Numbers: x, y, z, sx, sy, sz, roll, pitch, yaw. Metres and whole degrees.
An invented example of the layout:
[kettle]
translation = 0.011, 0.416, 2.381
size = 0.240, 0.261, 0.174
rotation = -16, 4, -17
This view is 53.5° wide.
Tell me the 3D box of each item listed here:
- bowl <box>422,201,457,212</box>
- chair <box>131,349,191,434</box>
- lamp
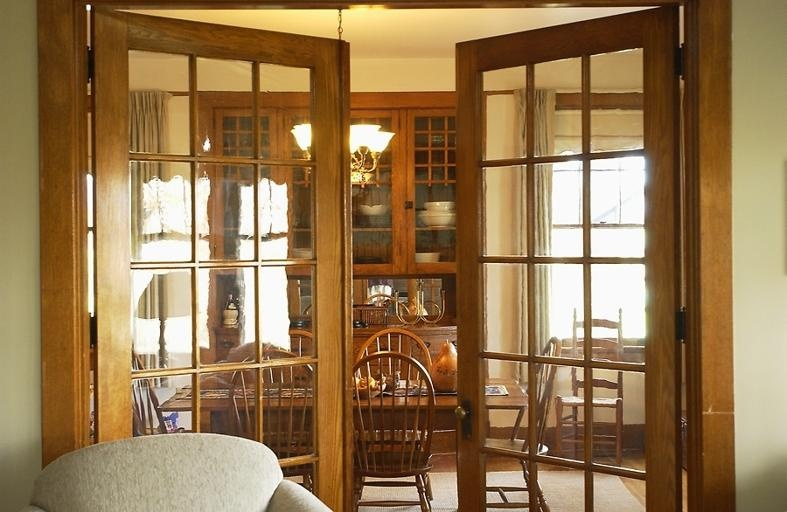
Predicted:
[bowl]
translation = 0.368, -0.395, 6.151
size = 0.253, 0.091, 0.256
rotation = 0, 2, 0
[chair]
translation = -1.117, 0.672, 3.858
size = 0.334, 0.530, 0.295
rotation = -1, -1, -5
[lamp]
translation = -0.192, -0.762, 5.824
size = 0.695, 0.473, 0.564
rotation = 1, -2, -40
